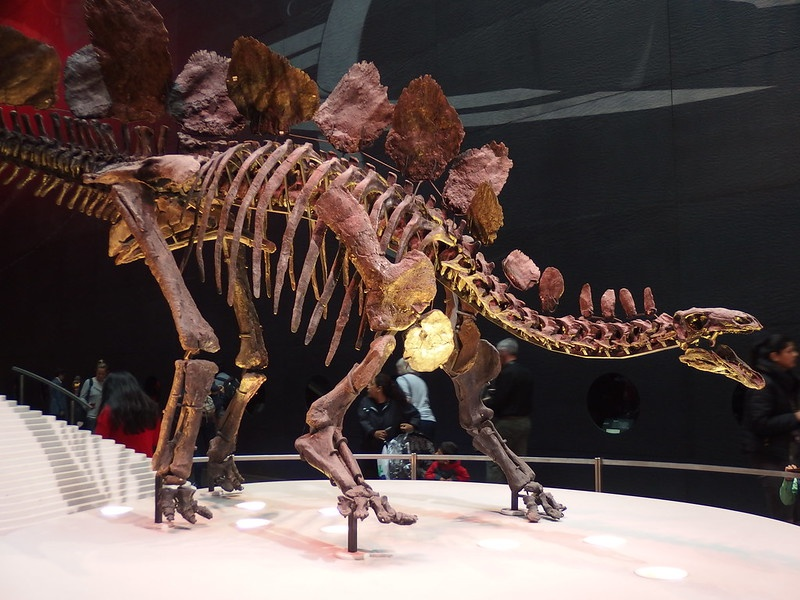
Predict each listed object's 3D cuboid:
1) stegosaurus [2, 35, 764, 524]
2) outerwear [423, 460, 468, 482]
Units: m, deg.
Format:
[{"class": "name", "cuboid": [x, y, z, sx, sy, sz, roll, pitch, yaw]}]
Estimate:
[{"class": "stegosaurus", "cuboid": [-0.464, -0.146, 6.217, 5.532, 4.121, 1.912, 1, 1, 18]}, {"class": "outerwear", "cuboid": [0.480, 1.881, 8.079, 0.427, 0.137, 0.371, 1, 0, 6]}]
